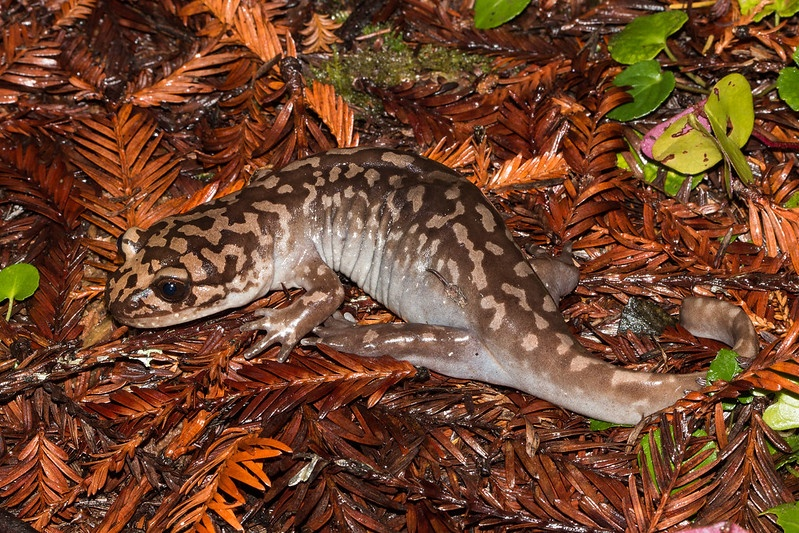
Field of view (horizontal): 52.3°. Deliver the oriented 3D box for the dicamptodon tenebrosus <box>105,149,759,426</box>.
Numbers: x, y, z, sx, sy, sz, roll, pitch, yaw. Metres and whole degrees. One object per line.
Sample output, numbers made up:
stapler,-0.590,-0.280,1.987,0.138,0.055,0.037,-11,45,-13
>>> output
dicamptodon tenebrosus,0.320,0.175,6.284,3.485,1.446,1.652,-1,81,9
